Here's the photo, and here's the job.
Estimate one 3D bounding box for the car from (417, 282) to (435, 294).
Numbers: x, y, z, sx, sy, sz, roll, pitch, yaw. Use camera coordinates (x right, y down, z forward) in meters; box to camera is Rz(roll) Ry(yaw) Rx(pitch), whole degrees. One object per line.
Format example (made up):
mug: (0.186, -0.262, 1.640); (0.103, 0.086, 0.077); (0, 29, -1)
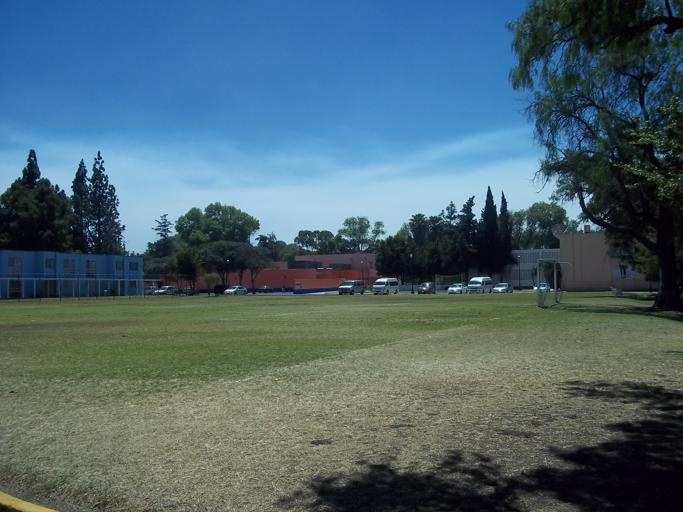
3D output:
car: (9.639, 3.653, 74.685); (1.012, 0.915, 1.864); (-4, -8, 34)

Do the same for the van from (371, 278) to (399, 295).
van: (5.011, 3.378, 73.327); (2.161, 1.806, 9.241); (0, 4, 10)

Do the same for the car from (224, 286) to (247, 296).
car: (-14.086, 4.745, 87.448); (2.101, 0.941, 4.502); (0, 3, 5)

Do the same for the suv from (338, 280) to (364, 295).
suv: (1.070, 3.463, 72.179); (1.322, 1.100, 2.629); (-5, -9, 28)
